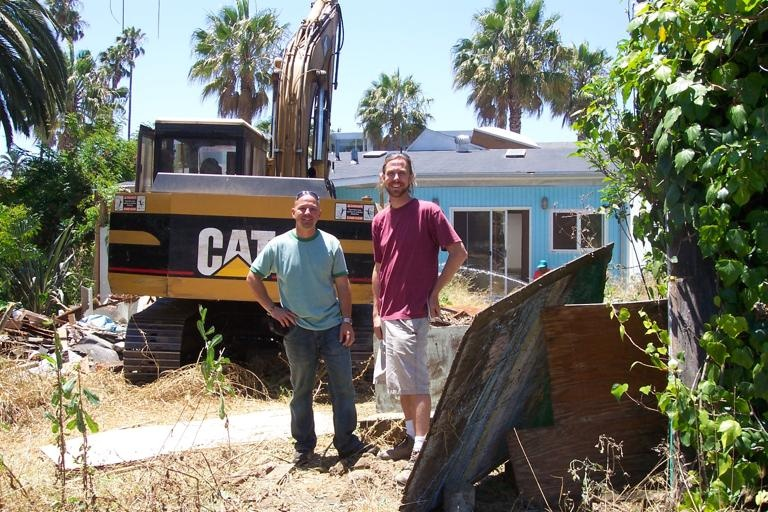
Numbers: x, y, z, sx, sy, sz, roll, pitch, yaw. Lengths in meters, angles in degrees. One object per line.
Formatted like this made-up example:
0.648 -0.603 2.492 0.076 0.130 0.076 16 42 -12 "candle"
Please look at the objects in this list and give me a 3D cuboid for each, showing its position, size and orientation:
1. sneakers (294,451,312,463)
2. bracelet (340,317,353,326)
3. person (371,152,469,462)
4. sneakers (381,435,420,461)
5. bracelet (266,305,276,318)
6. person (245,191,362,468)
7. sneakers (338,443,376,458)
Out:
-0.691 1.715 6.100 0.167 0.077 0.148 -2 4 -9 "sneakers"
-0.327 0.567 6.211 0.070 0.052 0.080 0 -12 8 "bracelet"
0.206 0.414 5.910 0.542 2.542 0.882 -5 6 -44 "person"
0.136 1.601 5.918 0.369 0.185 0.133 0 -3 6 "sneakers"
-0.970 0.491 6.125 0.090 0.049 0.126 36 3 -33 "bracelet"
-0.644 0.599 6.161 0.884 2.290 0.483 -1 4 -5 "person"
-0.234 1.651 6.163 0.310 0.141 0.120 -12 -5 -3 "sneakers"
